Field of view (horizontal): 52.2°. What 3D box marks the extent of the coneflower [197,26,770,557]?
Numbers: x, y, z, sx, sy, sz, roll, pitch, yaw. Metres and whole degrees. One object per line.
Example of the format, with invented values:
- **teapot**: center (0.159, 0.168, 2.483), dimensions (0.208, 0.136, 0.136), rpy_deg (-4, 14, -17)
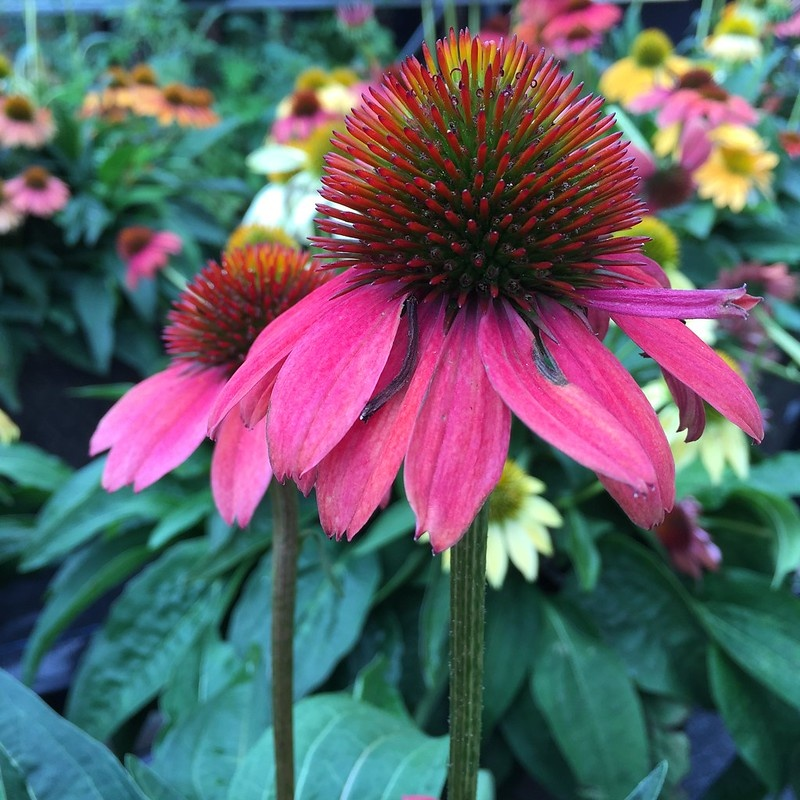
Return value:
- **coneflower**: center (0.014, -0.133, 0.724), dimensions (0.455, 0.286, 0.450), rpy_deg (3, 16, 3)
